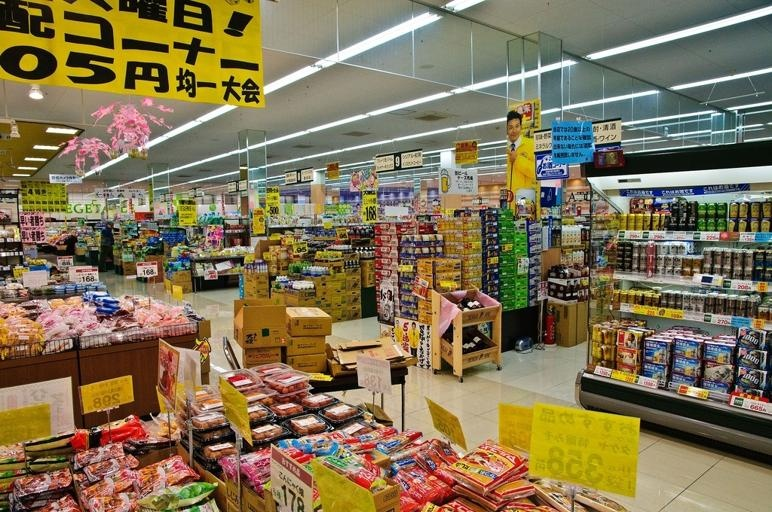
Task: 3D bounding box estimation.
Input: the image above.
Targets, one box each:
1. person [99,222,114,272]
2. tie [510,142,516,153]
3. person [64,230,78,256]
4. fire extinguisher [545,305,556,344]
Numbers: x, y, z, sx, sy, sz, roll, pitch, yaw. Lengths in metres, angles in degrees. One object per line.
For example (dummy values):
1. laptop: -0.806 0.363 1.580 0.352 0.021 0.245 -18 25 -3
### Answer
1. person: -10.255 -0.299 19.616 0.519 1.640 1.379 -5 8 -28
2. tie: 2.338 -2.019 9.896 0.050 0.136 0.107 5 -4 -23
3. person: -12.643 -0.516 21.435 0.397 1.048 0.669 2 -6 -27
4. fire extinguisher: 2.755 1.171 9.002 0.183 0.597 0.212 0 7 17
